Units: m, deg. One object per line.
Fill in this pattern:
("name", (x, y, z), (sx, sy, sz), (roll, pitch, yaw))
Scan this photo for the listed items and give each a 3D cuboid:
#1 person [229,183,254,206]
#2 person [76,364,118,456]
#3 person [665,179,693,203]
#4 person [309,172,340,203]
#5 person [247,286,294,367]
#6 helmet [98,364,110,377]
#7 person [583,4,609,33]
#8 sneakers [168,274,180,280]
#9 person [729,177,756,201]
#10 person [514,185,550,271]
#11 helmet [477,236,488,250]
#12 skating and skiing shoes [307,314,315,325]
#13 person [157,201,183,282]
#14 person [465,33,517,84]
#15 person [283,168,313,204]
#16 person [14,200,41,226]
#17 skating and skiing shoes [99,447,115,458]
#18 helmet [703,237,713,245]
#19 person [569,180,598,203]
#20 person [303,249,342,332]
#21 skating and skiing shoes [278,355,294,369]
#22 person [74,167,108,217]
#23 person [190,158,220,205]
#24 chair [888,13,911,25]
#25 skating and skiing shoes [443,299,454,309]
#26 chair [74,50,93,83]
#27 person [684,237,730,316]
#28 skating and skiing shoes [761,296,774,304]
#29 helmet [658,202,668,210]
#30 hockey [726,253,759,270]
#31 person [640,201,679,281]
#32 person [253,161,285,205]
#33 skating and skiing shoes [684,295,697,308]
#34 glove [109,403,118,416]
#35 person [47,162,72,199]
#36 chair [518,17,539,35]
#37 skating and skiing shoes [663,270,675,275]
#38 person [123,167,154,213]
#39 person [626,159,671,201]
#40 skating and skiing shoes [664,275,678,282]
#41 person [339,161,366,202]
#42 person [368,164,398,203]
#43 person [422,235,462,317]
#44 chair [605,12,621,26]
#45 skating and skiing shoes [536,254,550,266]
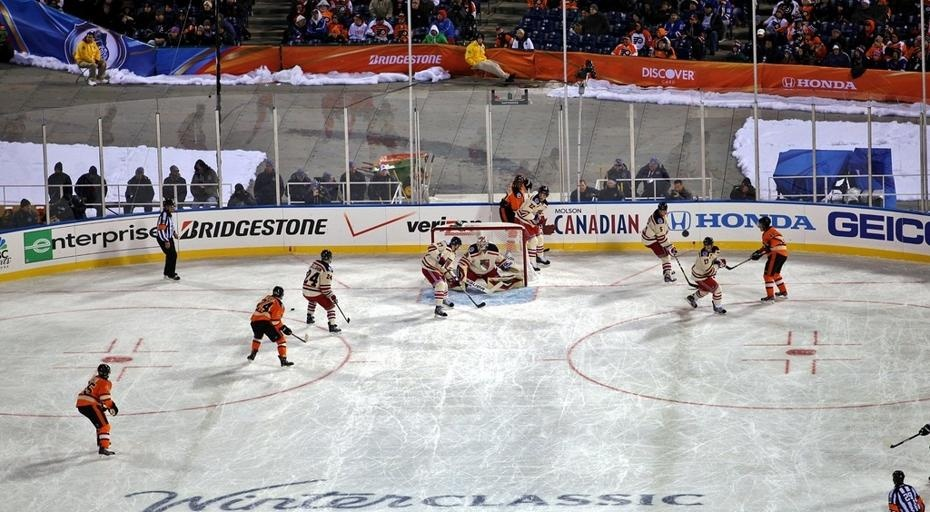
("person", (-6.624, -1.877, 32.512), (0.766, 0.681, 0.258), (-3, 8, -12))
("person", (-7.518, 3.181, 22.662), (0.735, 1.911, 0.577), (-4, 8, -13))
("person", (6.253, -2.011, 32.174), (0.783, 0.633, 0.613), (-5, 8, -22))
("person", (-4.102, -2.062, 32.523), (0.793, 0.833, 0.343), (-2, 6, -3))
("person", (-4.526, 1.602, 25.618), (0.962, 1.887, 1.068), (-4, 8, -11))
("helmet", (-7.365, 2.371, 22.572), (0.210, 0.285, 0.356), (-3, 7, -8))
("person", (4.550, -8.519, 38.828), (0.889, 1.038, 0.249), (1, 9, 19))
("sneakers", (-8.025, 0.528, 30.524), (0.303, 0.226, 0.128), (-6, 27, -19))
("person", (8.085, -2.008, 32.264), (0.959, 0.691, 0.473), (-1, 12, -4))
("person", (1.913, -0.835, 30.973), (0.908, 2.327, 0.428), (-6, 9, -23))
("helmet", (0.458, -0.383, 29.254), (0.300, 0.429, 0.159), (-4, 8, -11))
("skating and skiing shoes", (-3.835, 1.584, 27.372), (0.317, 0.231, 0.176), (-4, 12, -18))
("person", (-8.282, -0.517, 30.724), (0.533, 2.243, 1.018), (-4, 8, -14))
("person", (0.965, -6.991, 38.131), (2.007, 1.010, 0.931), (29, 37, 16))
("person", (-4.832, -2.086, 32.328), (0.956, 0.941, 0.352), (1, 5, 1))
("person", (-12.392, -1.299, 31.309), (0.702, 0.732, 0.333), (-4, 8, -17))
("skating and skiing shoes", (-7.385, 4.078, 22.569), (0.450, 0.229, 0.135), (-1, 12, -6))
("helmet", (5.968, -0.421, 27.387), (0.212, 0.208, 0.278), (-3, -5, 40))
("person", (3.457, -1.977, 32.774), (1.007, 1.023, 0.503), (-1, 3, 8))
("person", (-3.541, 0.823, 27.140), (0.836, 2.097, 1.318), (-3, 8, -7))
("skating and skiing shoes", (-4.126, 2.454, 25.324), (0.465, 0.238, 0.152), (-6, 15, -22))
("person", (-10.755, -1.940, 31.830), (0.898, 1.430, 0.586), (-4, 8, -15))
("person", (-7.620, -2.219, 32.384), (0.836, 1.346, 0.335), (-3, 8, -5))
("chair", (14.813, -8.301, 37.806), (0.914, 0.484, 0.442), (1, 3, 16))
("skating and skiing shoes", (-0.356, 1.218, 28.444), (0.388, 0.130, 0.120), (12, 30, 3))
("chair", (-13.604, -6.940, 39.419), (0.380, 1.021, 0.654), (-6, 9, -26))
("person", (6.010, 0.439, 27.681), (0.932, 1.931, 0.882), (-1, 8, 9))
("skating and skiing shoes", (7.653, 1.099, 28.009), (0.159, 0.115, 0.300), (-2, 7, -13))
("helmet", (5.284, -1.376, 29.697), (0.276, 0.251, 0.255), (3, 34, 10))
("hockey", (7.621, 0.140, 30.479), (1.650, 0.445, 0.320), (-2, -25, -46))
("person", (5.240, -0.438, 29.962), (0.867, 2.181, 1.087), (-1, 8, 9))
("person", (-5.761, -2.246, 32.487), (0.917, 1.358, 0.455), (-3, 8, -6))
("skating and skiing shoes", (5.670, 1.105, 27.800), (0.222, 0.442, 0.146), (-34, 24, 20))
("glove", (-7.208, 3.176, 22.665), (0.251, 0.255, 0.245), (5, -35, -16))
("person", (-11.617, -2.202, 31.640), (0.684, 1.137, 0.505), (-3, 8, -3))
("chair", (2.337, -8.582, 40.180), (0.826, 0.630, 0.750), (-11, 21, -29))
("skating and skiing shoes", (5.450, 0.431, 29.654), (0.227, 0.087, 0.120), (0, 5, 3))
("person", (-9.519, -2.001, 32.239), (0.888, 1.315, 0.354), (-4, 8, -11))
("person", (5.453, -2.374, 32.355), (1.029, 1.189, 0.365), (-1, 8, 6))
("skating and skiing shoes", (5.546, 0.580, 29.683), (0.408, 0.209, 0.210), (-7, 9, -39))
("person", (-3.237, -2.203, 32.322), (1.003, 1.026, 0.366), (0, 8, 1))
("person", (-2.459, -2.184, 32.800), (0.900, 0.980, 0.416), (-3, 8, -6))
("person", (-0.600, 0.478, 28.289), (0.936, 1.997, 1.485), (-3, 8, -7))
("chair", (5.264, -8.692, 39.330), (0.705, 0.418, 0.546), (3, 46, 5))
("skating and skiing shoes", (2.186, 0.072, 31.214), (0.606, 0.206, 0.193), (17, 25, -1))
